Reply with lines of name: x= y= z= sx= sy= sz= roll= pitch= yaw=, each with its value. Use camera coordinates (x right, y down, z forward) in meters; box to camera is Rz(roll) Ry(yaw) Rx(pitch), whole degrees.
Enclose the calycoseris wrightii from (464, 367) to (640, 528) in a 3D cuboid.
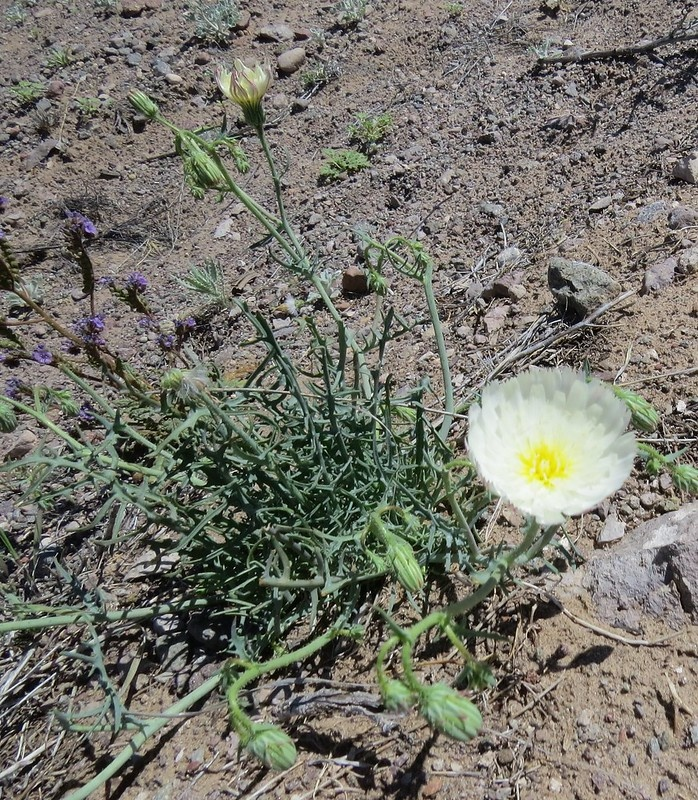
calycoseris wrightii: x=0.305 y=0.079 z=1.357 sx=0.331 sy=0.149 sz=0.291 roll=5 pitch=65 yaw=2
